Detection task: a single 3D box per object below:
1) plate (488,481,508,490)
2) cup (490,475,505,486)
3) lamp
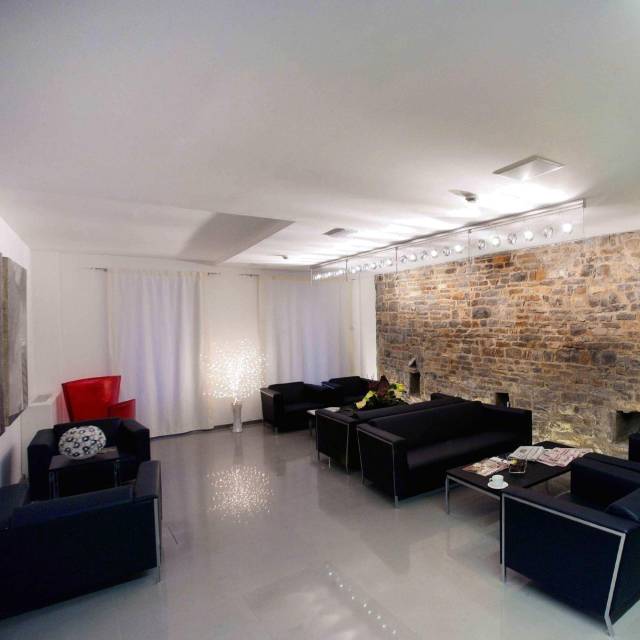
[{"bbox_3d":[1.286,1.206,3.483,0.101,0.027,0.119,-2,-3,-4],"label":"plate"},{"bbox_3d":[1.313,1.202,3.586,0.065,0.079,0.105,-2,-6,-1],"label":"cup"},{"bbox_3d":[-1.387,1.085,7.613,0.655,1.266,0.804,-3,3,34],"label":"lamp"}]
